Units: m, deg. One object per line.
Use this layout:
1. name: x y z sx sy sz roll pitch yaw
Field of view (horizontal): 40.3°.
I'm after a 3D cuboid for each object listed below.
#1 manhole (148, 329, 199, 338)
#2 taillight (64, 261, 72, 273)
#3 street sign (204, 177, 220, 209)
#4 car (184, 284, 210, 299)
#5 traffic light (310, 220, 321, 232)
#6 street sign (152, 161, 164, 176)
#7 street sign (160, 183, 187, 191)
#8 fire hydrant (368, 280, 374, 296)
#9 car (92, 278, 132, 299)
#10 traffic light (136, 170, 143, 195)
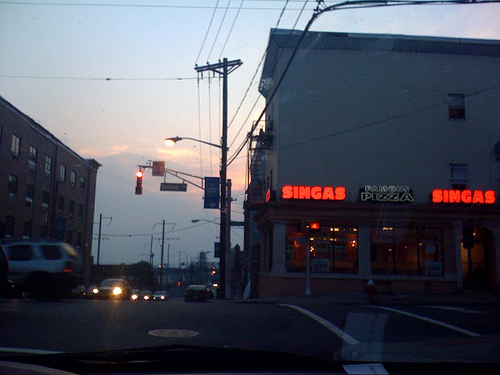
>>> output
1. manhole: -2.166 4.095 19.070 1.369 0.227 0.934 1 -11 -4
2. taillight: -7.087 3.089 26.387 0.044 0.446 0.319 -10 -15 43
3. street sign: -2.422 0.328 40.103 1.070 1.747 1.058 1 -1 -10
4. car: -3.557 6.965 45.190 1.470 0.960 2.209 1 -11 -4
5. traffic light: 3.341 2.022 35.083 0.684 0.659 0.364 1 -7 -9
6. street sign: -5.307 -1.029 38.943 0.646 0.847 0.420 2 -11 -11
7. street sign: -4.402 0.016 38.535 1.416 0.469 0.324 -1 -11 4
8. fire hydrant: 5.544 4.623 31.196 0.232 0.715 0.304 -1 -11 6
9. car: -7.201 5.315 35.498 1.048 0.753 1.775 0 -14 -6
10. traffic light: -5.875 -0.252 35.802 0.259 1.238 0.385 3 -12 -15
